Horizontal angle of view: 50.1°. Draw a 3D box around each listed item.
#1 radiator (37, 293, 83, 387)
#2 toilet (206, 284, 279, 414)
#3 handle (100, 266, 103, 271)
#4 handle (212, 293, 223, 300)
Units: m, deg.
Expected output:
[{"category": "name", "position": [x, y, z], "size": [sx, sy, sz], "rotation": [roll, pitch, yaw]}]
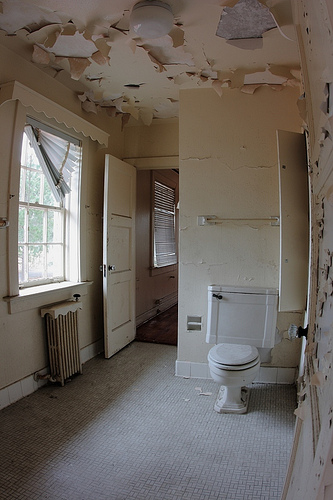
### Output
[{"category": "radiator", "position": [-0.806, 0.671, 2.693], "size": [0.167, 0.577, 0.380], "rotation": [-4, 3, 31]}, {"category": "toilet", "position": [0.521, 0.681, 2.475], "size": [0.490, 0.748, 0.702], "rotation": [2, 7, 15]}, {"category": "handle", "position": [-0.607, 0.181, 3.263], "size": [0.039, 0.040, 0.023], "rotation": [0, -1, 19]}, {"category": "handle", "position": [0.371, 0.350, 2.599], "size": [0.071, 0.039, 0.014], "rotation": [2, 2, 26]}]
